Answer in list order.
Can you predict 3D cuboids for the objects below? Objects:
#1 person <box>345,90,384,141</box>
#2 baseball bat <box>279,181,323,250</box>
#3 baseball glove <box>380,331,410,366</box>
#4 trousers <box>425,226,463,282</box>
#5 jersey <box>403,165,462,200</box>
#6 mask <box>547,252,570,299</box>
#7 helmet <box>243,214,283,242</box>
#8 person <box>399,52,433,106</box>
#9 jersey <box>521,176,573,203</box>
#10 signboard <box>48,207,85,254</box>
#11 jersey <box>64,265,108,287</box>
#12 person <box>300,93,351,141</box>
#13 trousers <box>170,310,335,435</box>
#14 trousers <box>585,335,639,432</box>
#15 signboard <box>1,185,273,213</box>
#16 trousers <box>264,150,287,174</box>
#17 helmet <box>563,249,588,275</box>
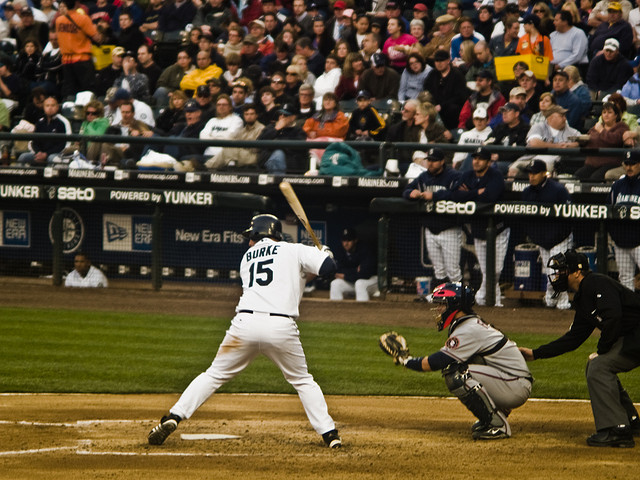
[{"bbox_3d":[0.693,-2.141,27.599,0.701,0.827,0.453,-1,-3,18],"label":"person"},{"bbox_3d":[-0.337,-0.405,25.579,0.191,1.295,0.180,-40,-21,21],"label":"baseball bat"},{"bbox_3d":[1.022,1.465,21.701,0.307,0.477,0.191,-42,-6,12],"label":"baseball glove"},{"bbox_3d":[2.053,0.230,26.574,0.547,1.156,0.402,-19,-23,31],"label":"trousers"},{"bbox_3d":[1.875,-0.942,26.522,0.557,0.303,0.772,-8,15,42],"label":"jersey"},{"bbox_3d":[3.196,0.441,21.488,0.268,0.514,0.289,0,-3,0],"label":"mask"},{"bbox_3d":[-0.847,-0.186,21.575,0.442,0.352,0.340,19,12,27],"label":"helmet"},{"bbox_3d":[1.636,-2.850,28.133,0.601,0.884,0.355,0,-3,9],"label":"person"},{"bbox_3d":[3.687,-0.967,26.042,0.841,0.507,0.389,3,10,29],"label":"jersey"},{"bbox_3d":[-4.545,-0.155,28.048,0.795,0.941,0.128,0,-2,11],"label":"signboard"},{"bbox_3d":[-4.205,0.703,27.942,0.698,0.484,0.364,-1,-5,9],"label":"jersey"},{"bbox_3d":[0.152,-2.173,28.129,0.890,0.903,0.719,-6,12,-43],"label":"person"},{"bbox_3d":[-0.879,1.761,21.165,2.041,1.638,0.259,0,-3,-1],"label":"trousers"},{"bbox_3d":[3.918,1.973,21.425,0.656,1.601,0.720,1,-24,14],"label":"trousers"},{"bbox_3d":[-3.191,-0.717,27.676,4.651,0.500,0.399,0,-3,9],"label":"signboard"},{"bbox_3d":[-0.815,-1.341,27.327,0.265,0.422,0.163,-1,-16,-3],"label":"trousers"},{"bbox_3d":[3.425,0.294,21.514,0.309,0.302,0.252,-3,9,-1],"label":"helmet"}]
